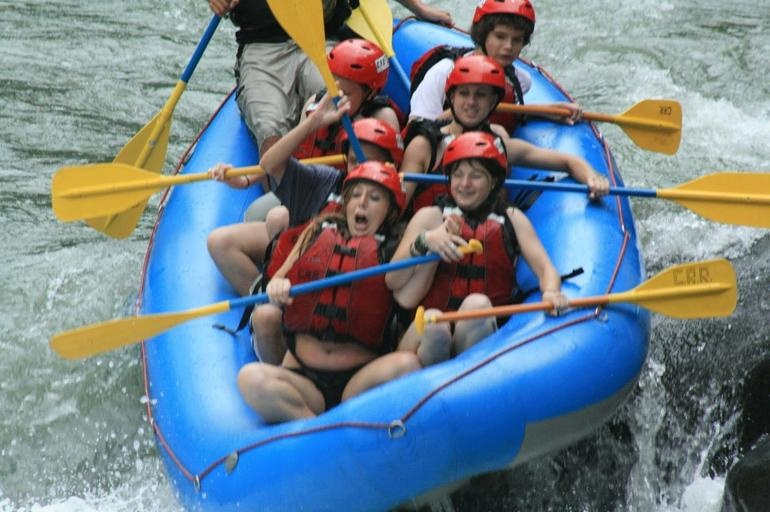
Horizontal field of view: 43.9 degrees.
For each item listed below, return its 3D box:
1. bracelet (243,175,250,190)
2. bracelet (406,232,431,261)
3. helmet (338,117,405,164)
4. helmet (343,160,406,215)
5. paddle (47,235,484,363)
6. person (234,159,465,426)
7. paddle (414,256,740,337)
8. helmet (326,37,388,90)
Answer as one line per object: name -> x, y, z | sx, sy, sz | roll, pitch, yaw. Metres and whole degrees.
bracelet -> -0.820, -0.448, 5.653 | 0.014, 0.053, 0.038 | -11, -19, 41
bracelet -> 0.181, -0.053, 5.179 | 0.088, 0.132, 0.041 | 7, -3, 17
helmet -> -0.050, -0.696, 5.545 | 0.236, 0.320, 0.297 | 3, 52, 34
helmet -> -0.058, -0.380, 5.259 | 0.214, 0.332, 0.271 | 1, -6, 14
paddle -> -0.593, 0.264, 5.389 | 2.015, 0.149, 0.241 | -16, 59, -6
person -> -0.178, 0.242, 5.223 | 1.040, 1.455, 0.747 | 10, -5, -1
paddle -> 0.971, 0.213, 5.198 | 1.815, 0.408, 0.291 | -3, -17, 0
helmet -> -0.165, -1.187, 5.755 | 0.245, 0.359, 0.273 | -20, -11, -7
